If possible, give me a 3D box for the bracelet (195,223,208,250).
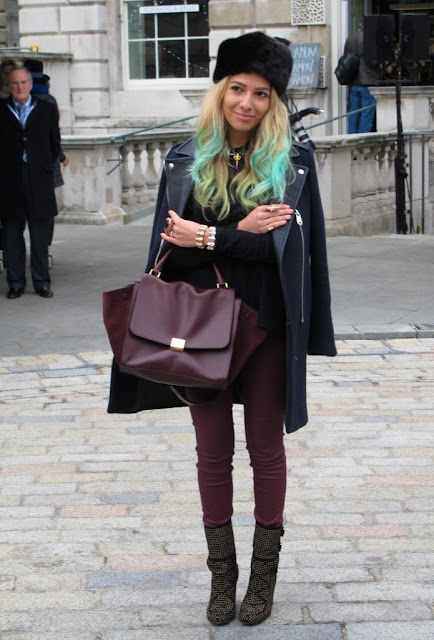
[{"bbox_3d":[-0.043,-0.226,2.270,0.024,0.049,0.044,6,-26,10],"label":"bracelet"}]

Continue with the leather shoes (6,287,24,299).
[{"bbox_3d":[-1.905,-0.244,7.742,0.076,0.066,0.192,1,12,-5],"label":"leather shoes"}]

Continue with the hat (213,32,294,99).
[{"bbox_3d":[0.114,-0.746,2.458,0.195,0.148,0.228,14,1,5],"label":"hat"}]

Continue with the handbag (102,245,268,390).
[{"bbox_3d":[-0.109,0.029,2.292,0.455,0.410,0.295,2,13,16],"label":"handbag"}]

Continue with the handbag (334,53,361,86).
[{"bbox_3d":[2.305,-4.390,14.504,0.277,0.511,0.566,-3,12,-9],"label":"handbag"}]

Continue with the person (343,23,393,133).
[{"bbox_3d":[2.554,-4.256,14.586,0.613,1.911,1.596,1,12,8],"label":"person"}]

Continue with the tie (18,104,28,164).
[{"bbox_3d":[-1.788,-1.726,7.645,0.102,0.533,0.217,-4,13,-12],"label":"tie"}]

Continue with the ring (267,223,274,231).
[{"bbox_3d":[0.145,-0.252,2.249,0.022,0.017,0.006,-7,8,7],"label":"ring"}]
